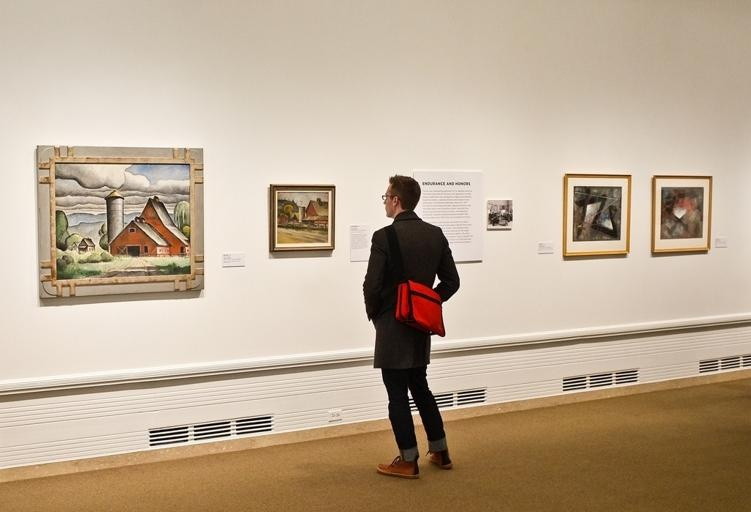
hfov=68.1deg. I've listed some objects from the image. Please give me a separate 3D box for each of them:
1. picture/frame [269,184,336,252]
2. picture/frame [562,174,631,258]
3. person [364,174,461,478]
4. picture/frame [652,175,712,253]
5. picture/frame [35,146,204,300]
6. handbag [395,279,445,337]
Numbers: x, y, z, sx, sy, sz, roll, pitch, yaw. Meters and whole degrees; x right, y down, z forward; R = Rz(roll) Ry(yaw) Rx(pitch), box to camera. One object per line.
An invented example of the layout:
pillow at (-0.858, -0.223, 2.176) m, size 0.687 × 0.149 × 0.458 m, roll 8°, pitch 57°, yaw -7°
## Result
picture/frame at (-0.823, -0.426, 6.003) m, size 0.688 × 0.724 × 0.034 m, roll -2°, pitch 4°, yaw -18°
picture/frame at (2.740, -0.533, 7.020) m, size 1.022 × 1.162 × 0.068 m, roll -1°, pitch 1°, yaw -24°
person at (0.308, 0.677, 5.185) m, size 0.851 × 2.809 × 0.502 m, roll -6°, pitch 11°, yaw -29°
picture/frame at (4.020, -0.592, 7.391) m, size 0.991 × 1.131 × 0.056 m, roll -1°, pitch 1°, yaw -25°
picture/frame at (-2.601, -0.354, 5.508) m, size 1.483 × 1.449 × 0.086 m, roll -1°, pitch 7°, yaw -14°
handbag at (0.416, 0.480, 5.109) m, size 0.227 × 0.431 × 0.584 m, roll -6°, pitch -19°, yaw 39°
